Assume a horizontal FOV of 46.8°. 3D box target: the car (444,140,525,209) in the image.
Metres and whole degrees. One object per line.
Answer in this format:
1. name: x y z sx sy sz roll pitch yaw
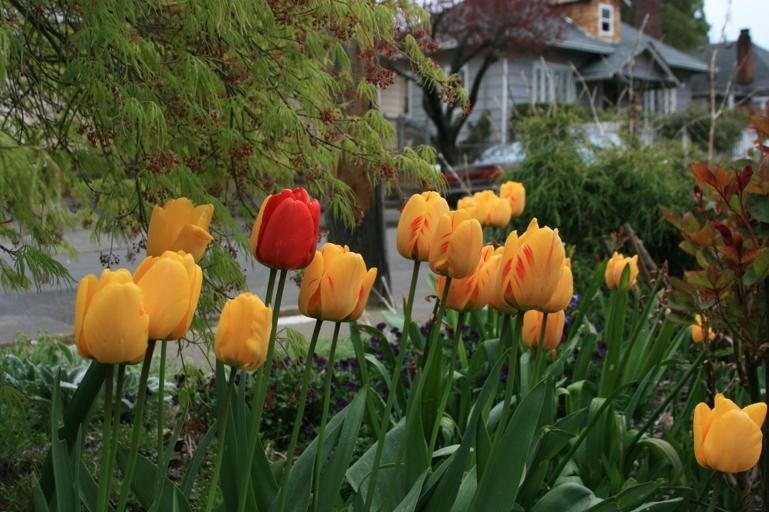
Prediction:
1. car: 1.812 -1.196 15.802 1.220 1.177 2.278 1 9 5
